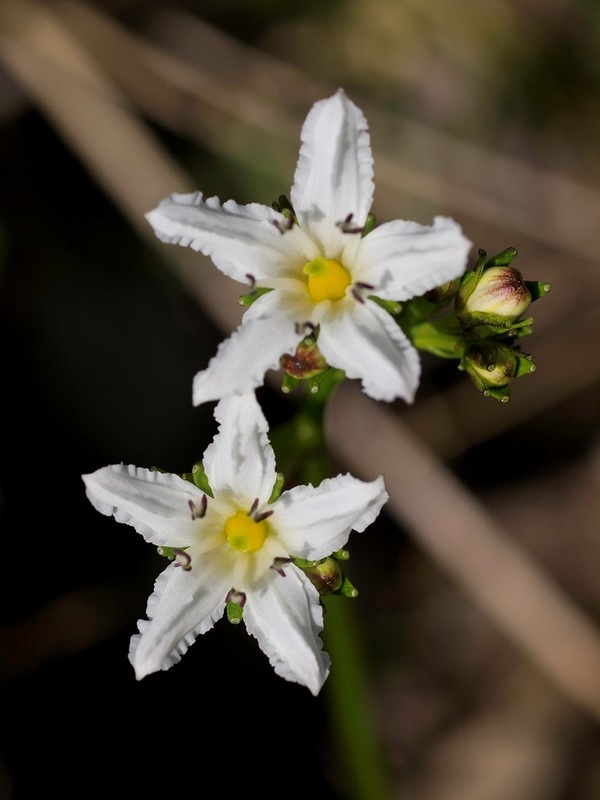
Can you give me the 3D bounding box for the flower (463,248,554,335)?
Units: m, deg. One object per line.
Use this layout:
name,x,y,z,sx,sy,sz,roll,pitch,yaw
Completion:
flower,0.811,-0.435,3.470,0.321,0.304,0.136,28,47,30
